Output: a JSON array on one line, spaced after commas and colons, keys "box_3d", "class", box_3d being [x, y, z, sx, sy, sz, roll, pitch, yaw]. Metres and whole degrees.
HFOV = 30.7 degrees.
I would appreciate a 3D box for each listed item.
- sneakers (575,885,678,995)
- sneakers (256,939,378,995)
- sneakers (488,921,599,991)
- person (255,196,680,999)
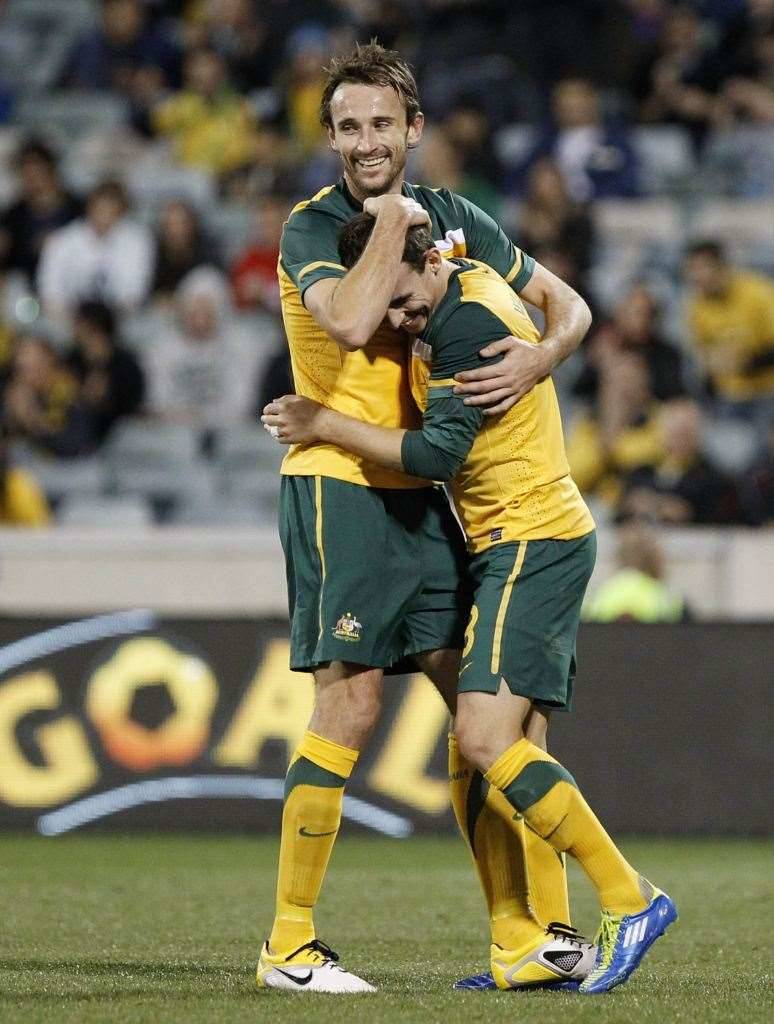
[{"box_3d": [0.512, 0.954, 3.078, 0.131, 0.283, 0.241, 19, 26, 28], "class": "sneakers"}, {"box_3d": [-0.180, 1.002, 3.118, 0.278, 0.085, 0.094, 3, -13, 16], "class": "sneakers"}, {"box_3d": [0.344, 0.987, 3.111, 0.291, 0.099, 0.092, -7, -12, -1], "class": "sneakers"}, {"box_3d": [0.288, 0.177, 3.199, 0.582, 1.610, 1.161, -14, 30, -37], "class": "person"}]
